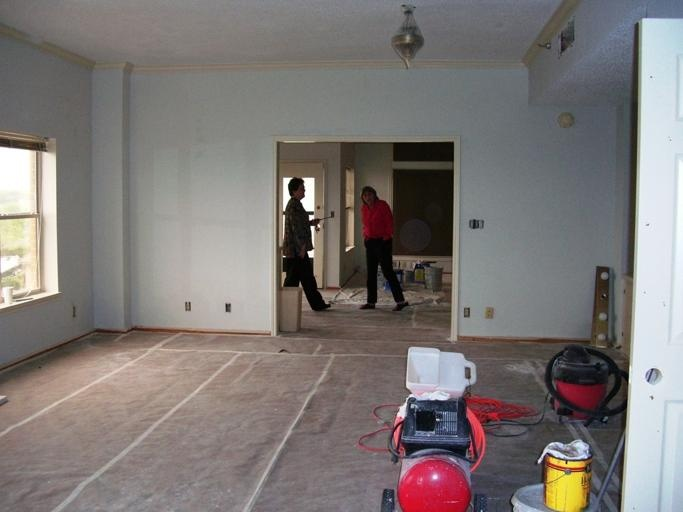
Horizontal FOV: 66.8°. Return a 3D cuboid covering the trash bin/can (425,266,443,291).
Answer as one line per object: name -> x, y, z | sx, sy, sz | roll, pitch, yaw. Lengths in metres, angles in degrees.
trash bin/can -> 1.749, 0.451, 9.835 | 0.379, 0.529, 0.399 | 0, 0, -1

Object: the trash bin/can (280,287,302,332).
trash bin/can -> -0.686, 0.718, 6.890 | 0.290, 0.603, 0.194 | -1, 9, -8

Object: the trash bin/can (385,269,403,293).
trash bin/can -> 1.096, 0.471, 10.297 | 0.398, 0.656, 0.428 | 1, 6, 15

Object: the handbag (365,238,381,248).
handbag -> 0.478, -0.208, 8.302 | 0.162, 0.172, 0.127 | -5, 9, 6

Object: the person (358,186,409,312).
person -> 0.698, -0.125, 8.335 | 0.745, 1.906, 0.697 | 0, 9, 3

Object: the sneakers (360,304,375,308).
sneakers -> 0.414, 0.812, 8.293 | 0.220, 0.097, 0.088 | 2, 0, -3

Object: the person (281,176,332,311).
person -> -0.656, -0.099, 7.683 | 0.381, 2.045, 0.817 | 3, 9, 22

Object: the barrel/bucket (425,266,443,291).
barrel/bucket -> 1.756, 0.446, 9.831 | 0.387, 0.516, 0.389 | -1, 0, 0

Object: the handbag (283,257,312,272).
handbag -> -0.653, 0.134, 7.731 | 0.247, 0.176, 0.143 | 0, -1, 4

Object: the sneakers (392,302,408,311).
sneakers -> 0.933, 0.809, 8.222 | 0.282, 0.126, 0.098 | -4, 3, -12
